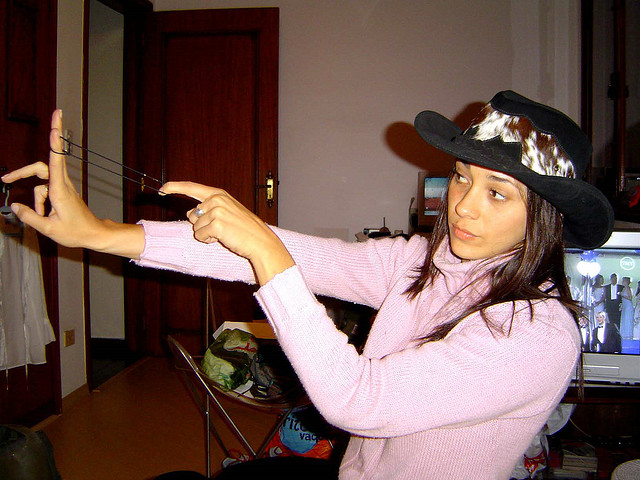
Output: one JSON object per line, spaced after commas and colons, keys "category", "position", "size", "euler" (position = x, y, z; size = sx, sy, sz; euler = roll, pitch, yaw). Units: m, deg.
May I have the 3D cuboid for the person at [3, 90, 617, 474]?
{"category": "person", "position": [0.112, 0.136, 1.395], "size": [1.281, 1.069, 0.482], "euler": [3, 4, 4]}

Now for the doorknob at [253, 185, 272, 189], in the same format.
{"category": "doorknob", "position": [-0.415, -0.393, 3.853], "size": [0.085, 0.025, 0.017], "euler": [-1, 43, 8]}

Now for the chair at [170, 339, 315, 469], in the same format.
{"category": "chair", "position": [-0.288, 0.663, 2.451], "size": [0.455, 0.676, 0.379], "euler": [-11, 23, 0]}

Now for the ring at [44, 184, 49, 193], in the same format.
{"category": "ring", "position": [-0.696, -0.129, 1.328], "size": [0.014, 0.027, 0.007], "euler": [-3, -7, 40]}

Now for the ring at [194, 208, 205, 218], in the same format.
{"category": "ring", "position": [-0.308, -0.069, 1.326], "size": [0.021, 0.024, 0.007], "euler": [-4, -1, 17]}
